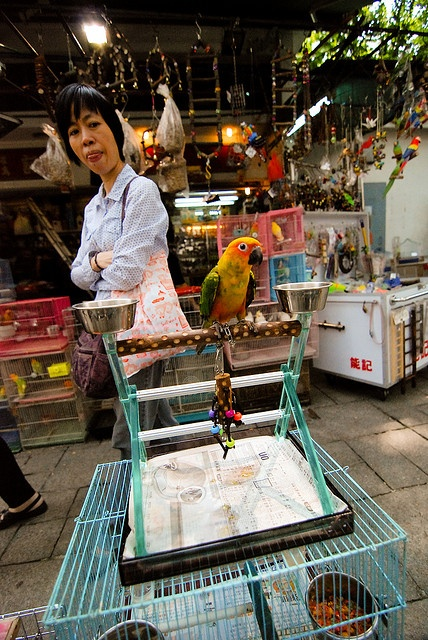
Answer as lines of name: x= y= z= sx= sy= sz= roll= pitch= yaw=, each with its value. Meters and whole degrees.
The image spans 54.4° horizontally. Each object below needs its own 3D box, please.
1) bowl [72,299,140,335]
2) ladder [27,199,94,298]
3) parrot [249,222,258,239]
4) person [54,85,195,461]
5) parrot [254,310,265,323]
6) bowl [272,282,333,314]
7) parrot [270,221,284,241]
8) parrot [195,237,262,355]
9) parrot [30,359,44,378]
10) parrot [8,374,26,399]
bowl: x=-0.281 y=-0.007 z=1.121 sx=0.150 sy=0.104 sz=0.220 roll=-9 pitch=13 yaw=-11
ladder: x=-1.855 y=-0.888 z=4.837 sx=0.140 sy=1.704 sz=0.132 roll=-28 pitch=-15 yaw=9
parrot: x=0.323 y=-0.727 z=3.371 sx=0.069 sy=0.135 sz=0.131 roll=-5 pitch=13 yaw=6
person: x=-0.349 y=-0.133 z=1.739 sx=0.493 sy=1.595 sz=0.483 roll=18 pitch=26 yaw=24
parrot: x=0.354 y=-0.024 z=3.264 sx=0.095 sy=0.099 sz=0.095 roll=-2 pitch=-10 yaw=0
bowl: x=0.257 y=-0.070 z=1.244 sx=0.154 sy=0.091 sz=0.261 roll=-5 pitch=13 yaw=6
parrot: x=0.528 y=-0.739 z=3.488 sx=0.067 sy=0.209 sz=0.084 roll=-11 pitch=27 yaw=6
parrot: x=0.106 y=-0.144 z=1.853 sx=0.243 sy=0.553 sz=0.268 roll=-5 pitch=29 yaw=-27
parrot: x=-1.363 y=0.386 z=3.187 sx=0.091 sy=0.156 sz=0.174 roll=-13 pitch=14 yaw=-24
parrot: x=-1.488 y=0.494 z=3.160 sx=0.099 sy=0.186 sz=0.079 roll=-13 pitch=14 yaw=-25
